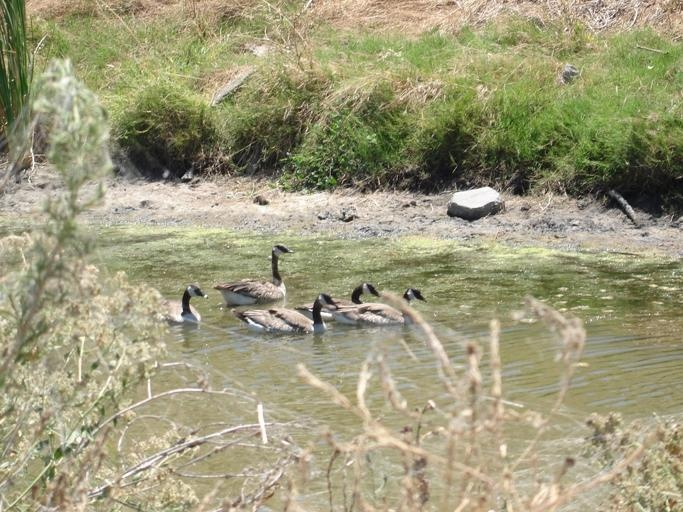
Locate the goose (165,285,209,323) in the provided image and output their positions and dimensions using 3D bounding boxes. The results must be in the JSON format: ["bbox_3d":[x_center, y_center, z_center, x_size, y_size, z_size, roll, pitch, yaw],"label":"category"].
[{"bbox_3d":[-1.958,0.625,11.918,0.243,0.419,0.656,-17,29,-40],"label":"goose"}]

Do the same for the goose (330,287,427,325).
[{"bbox_3d":[0.440,0.710,11.716,1.140,0.671,0.483,6,5,-7],"label":"goose"}]

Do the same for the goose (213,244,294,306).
[{"bbox_3d":[-1.169,0.321,12.747,1.293,0.933,0.457,-1,-2,-39],"label":"goose"}]

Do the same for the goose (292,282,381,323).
[{"bbox_3d":[-0.075,0.672,12.165,1.096,0.636,0.358,3,-11,-20],"label":"goose"}]

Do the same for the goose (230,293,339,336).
[{"bbox_3d":[-0.620,0.730,11.514,1.181,0.608,0.458,6,13,17],"label":"goose"}]
